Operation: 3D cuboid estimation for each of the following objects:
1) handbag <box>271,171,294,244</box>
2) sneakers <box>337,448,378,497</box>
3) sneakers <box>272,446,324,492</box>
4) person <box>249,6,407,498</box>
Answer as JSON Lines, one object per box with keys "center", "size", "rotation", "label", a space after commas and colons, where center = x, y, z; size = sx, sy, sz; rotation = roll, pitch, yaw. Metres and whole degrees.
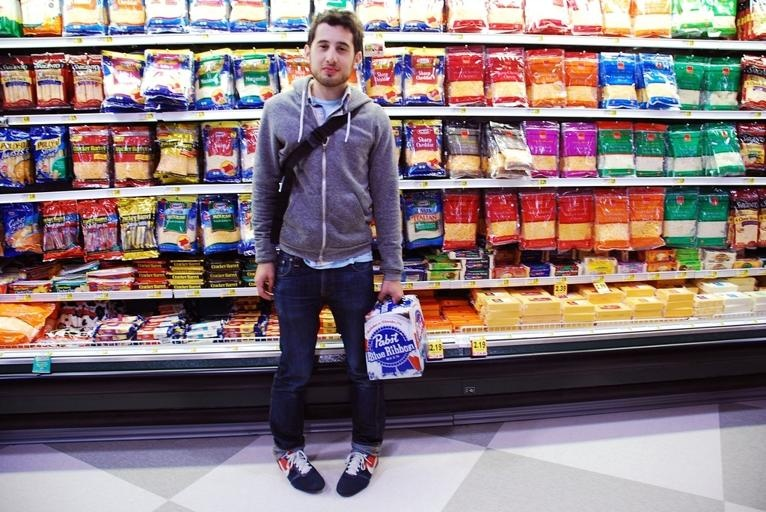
{"center": [-0.572, -0.271, 3.186], "size": [0.087, 0.327, 0.186], "rotation": [13, 2, -5], "label": "handbag"}
{"center": [-0.157, 1.261, 3.328], "size": [0.129, 0.112, 0.322], "rotation": [1, 10, 11], "label": "sneakers"}
{"center": [-0.502, 1.227, 3.371], "size": [0.146, 0.124, 0.353], "rotation": [-24, 32, -31], "label": "sneakers"}
{"center": [-0.321, 0.011, 3.228], "size": [0.867, 2.642, 0.422], "rotation": [-4, 12, 0], "label": "person"}
